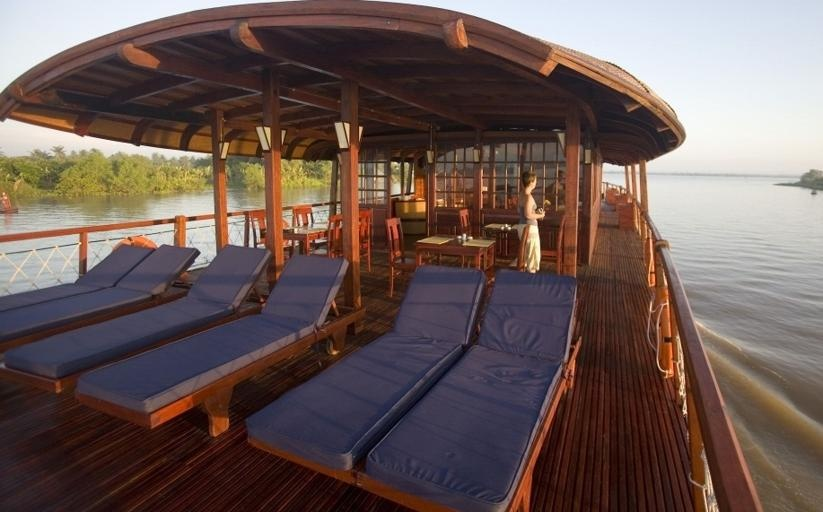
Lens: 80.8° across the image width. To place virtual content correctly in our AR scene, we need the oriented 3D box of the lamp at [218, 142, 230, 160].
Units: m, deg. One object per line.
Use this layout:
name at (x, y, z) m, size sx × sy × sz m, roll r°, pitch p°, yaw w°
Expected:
lamp at (-4.153, -2.342, 10.751) m, size 0.194 × 0.405 × 0.616 m, roll -4°, pitch 16°, yaw -15°

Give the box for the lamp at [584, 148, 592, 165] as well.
lamp at (4.316, -2.433, 11.871) m, size 0.297 × 0.399 × 0.135 m, roll -12°, pitch 20°, yaw -37°

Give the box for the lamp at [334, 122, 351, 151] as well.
lamp at (-1.115, -1.957, 7.856) m, size 0.218 × 0.440 × 0.273 m, roll -2°, pitch 16°, yaw -8°

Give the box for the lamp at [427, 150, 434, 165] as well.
lamp at (0.498, -2.645, 12.958) m, size 0.196 × 0.368 × 0.258 m, roll 1°, pitch 16°, yaw 3°

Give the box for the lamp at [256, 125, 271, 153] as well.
lamp at (-2.595, -2.030, 8.377) m, size 0.193 × 0.445 × 0.280 m, roll -12°, pitch 19°, yaw -36°

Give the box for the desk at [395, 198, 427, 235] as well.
desk at (0.071, -1.095, 14.646) m, size 0.916 × 0.742 × 0.929 m, roll -8°, pitch -21°, yaw 32°
